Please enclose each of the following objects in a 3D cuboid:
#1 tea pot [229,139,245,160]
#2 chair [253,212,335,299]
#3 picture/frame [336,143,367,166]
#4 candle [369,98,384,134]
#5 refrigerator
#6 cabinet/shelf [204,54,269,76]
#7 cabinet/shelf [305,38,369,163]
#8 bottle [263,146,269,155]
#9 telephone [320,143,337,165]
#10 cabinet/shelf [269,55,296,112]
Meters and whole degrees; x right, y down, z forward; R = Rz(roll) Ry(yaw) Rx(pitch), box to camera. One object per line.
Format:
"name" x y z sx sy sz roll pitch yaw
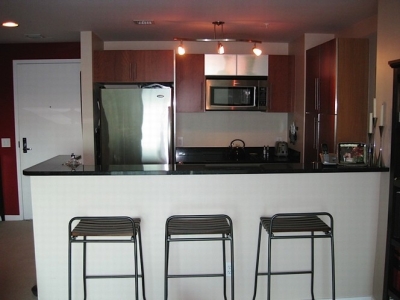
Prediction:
"tea pot" 0.588 -0.010 5.857 0.252 0.334 0.610 1 1 7
"chair" 0.927 1.081 3.670 0.783 1.004 0.588 1 1 5
"picture/frame" 1.598 0.047 3.977 0.334 0.343 0.200 0 2 8
"candle" 1.849 -0.354 3.953 0.148 0.378 0.327 1 1 9
"refrigerator" -0.905 -0.341 5.740 1.138 1.940 0.957 0 5 -1
"cabinet/shelf" 0.556 -1.288 5.641 0.970 0.319 0.075 1 1 -3
"cabinet/shelf" 1.750 -0.621 4.892 0.844 1.599 0.568 1 1 34
"bottle" 1.086 0.009 6.083 0.096 0.159 0.184 1 1 9
"telephone" 1.417 0.052 4.009 0.192 0.237 0.137 2 -7 14
"cabinet/shelf" 1.254 -1.017 5.726 0.408 0.846 0.146 1 1 9
